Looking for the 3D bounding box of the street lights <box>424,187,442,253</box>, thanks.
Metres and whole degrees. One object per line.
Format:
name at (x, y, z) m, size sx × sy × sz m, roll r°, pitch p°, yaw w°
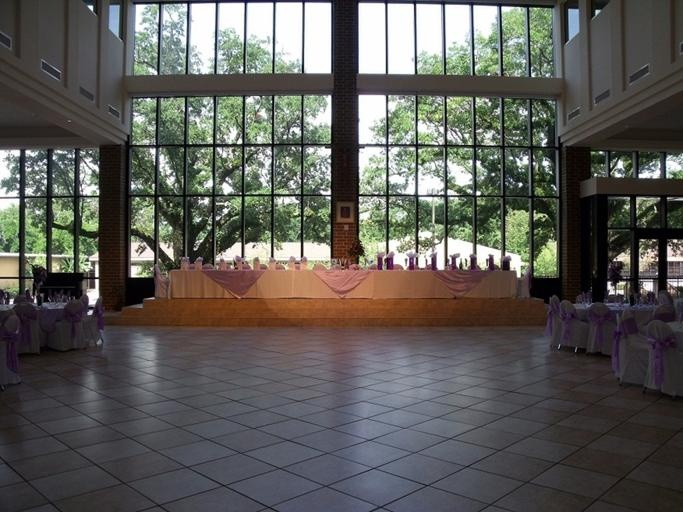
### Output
street lights at (2.966, -1.169, 16.509) m, size 0.415 × 2.028 × 0.164 m, roll -1°, pitch 4°, yaw -16°
